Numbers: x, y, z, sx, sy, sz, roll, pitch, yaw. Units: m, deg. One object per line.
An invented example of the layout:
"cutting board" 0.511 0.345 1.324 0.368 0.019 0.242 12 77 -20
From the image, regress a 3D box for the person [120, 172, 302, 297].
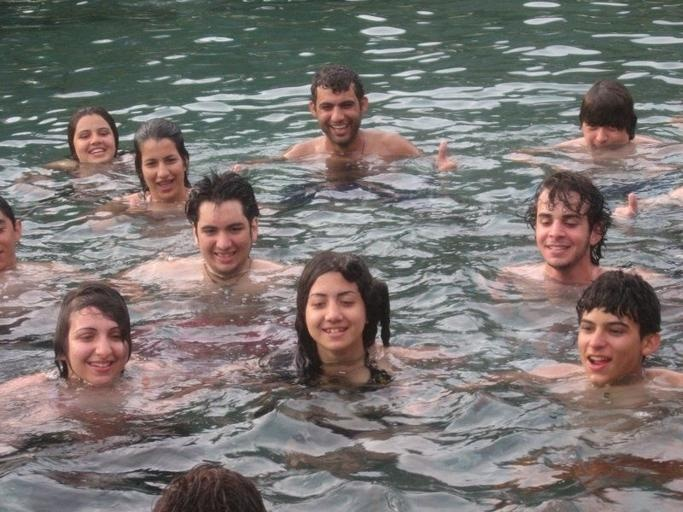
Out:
"person" -1.331 -0.177 7.217 2.481 0.829 0.715 -2 -6 -10

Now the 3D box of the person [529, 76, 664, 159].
"person" 3.327 -1.736 9.071 1.232 0.929 0.590 1 15 13

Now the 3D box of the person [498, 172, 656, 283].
"person" 2.252 -0.233 6.888 2.021 1.009 1.058 -2 2 31

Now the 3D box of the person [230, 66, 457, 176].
"person" 0.038 -1.818 9.992 4.404 1.121 1.042 -3 0 -3
